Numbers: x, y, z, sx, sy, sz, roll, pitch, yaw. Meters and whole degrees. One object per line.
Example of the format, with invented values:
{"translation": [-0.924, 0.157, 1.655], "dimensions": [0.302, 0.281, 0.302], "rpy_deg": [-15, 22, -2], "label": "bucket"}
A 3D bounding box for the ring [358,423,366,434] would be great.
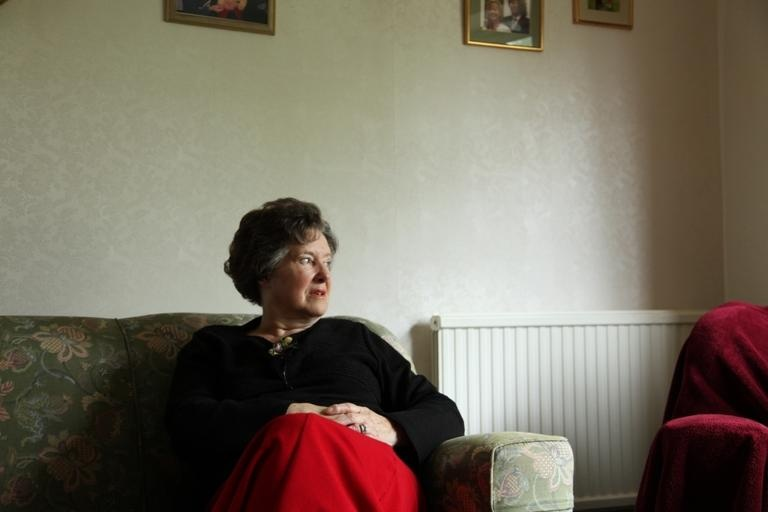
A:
{"translation": [-0.076, 0.586, 2.182], "dimensions": [0.021, 0.030, 0.010], "rpy_deg": [0, -21, -21], "label": "ring"}
